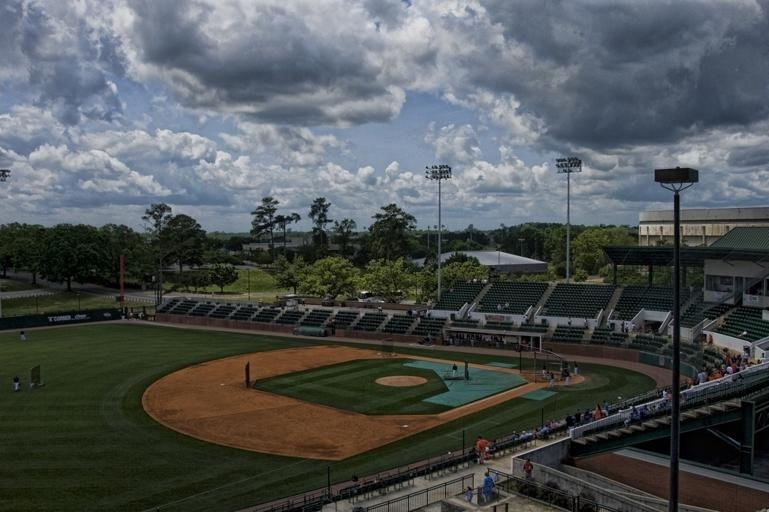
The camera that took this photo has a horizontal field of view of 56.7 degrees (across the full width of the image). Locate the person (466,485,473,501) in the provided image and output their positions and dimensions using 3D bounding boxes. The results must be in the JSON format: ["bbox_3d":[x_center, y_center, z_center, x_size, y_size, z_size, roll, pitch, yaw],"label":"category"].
[{"bbox_3d":[6.751,18.859,56.908,0.510,1.162,1.425,0,1,14],"label":"person"}]

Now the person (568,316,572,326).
[{"bbox_3d":[26.020,9.257,100.736,0.512,0.990,0.872,0,1,13],"label":"person"}]
